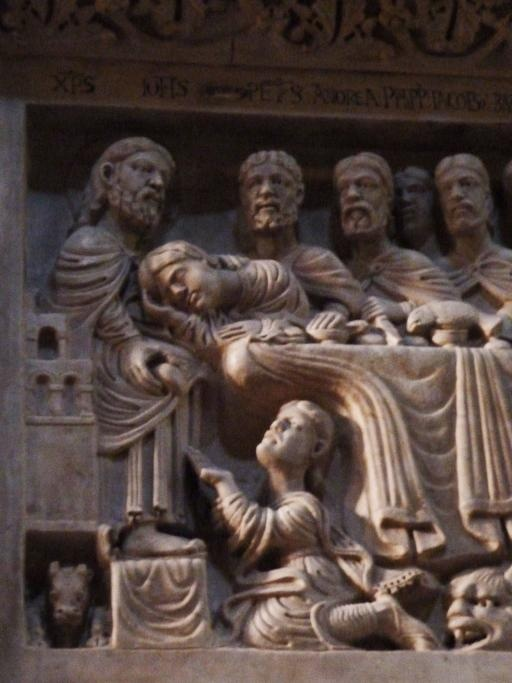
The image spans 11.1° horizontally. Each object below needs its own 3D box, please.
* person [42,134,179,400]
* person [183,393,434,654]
[{"bbox_3d":[-0.616,-0.279,11.208,0.555,1.170,0.489,-3,-36,6],"label":"person"},{"bbox_3d":[0.204,0.829,10.528,1.035,1.190,0.676,13,-39,-11],"label":"person"}]
